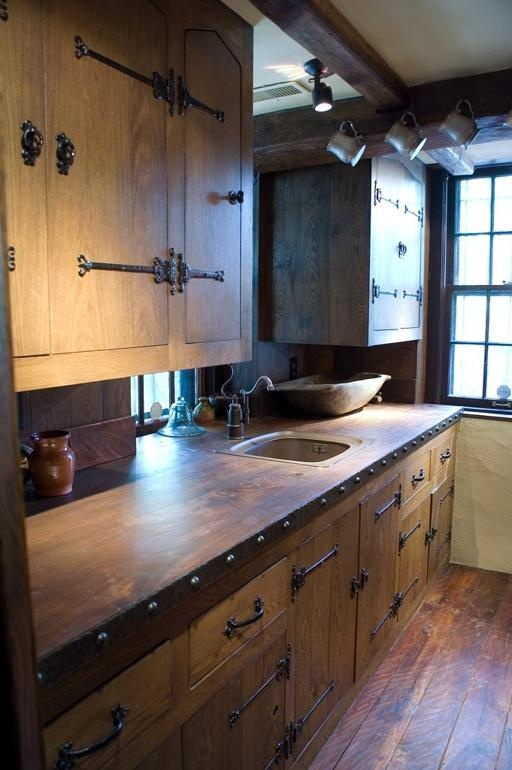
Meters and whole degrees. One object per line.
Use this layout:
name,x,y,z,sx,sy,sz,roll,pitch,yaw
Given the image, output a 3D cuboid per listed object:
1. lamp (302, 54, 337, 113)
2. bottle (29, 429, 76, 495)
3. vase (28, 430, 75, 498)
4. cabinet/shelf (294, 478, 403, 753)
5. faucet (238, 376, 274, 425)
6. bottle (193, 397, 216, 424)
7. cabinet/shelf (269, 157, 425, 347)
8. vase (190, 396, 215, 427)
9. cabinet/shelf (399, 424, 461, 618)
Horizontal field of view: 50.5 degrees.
lamp,0.226,-1.089,2.012,0.103,0.162,0.290,2,6,6
bottle,-0.529,0.207,1.455,0.144,0.162,0.108,-3,6,-21
vase,-0.534,0.198,1.438,0.102,0.159,0.143,3,11,7
cabinet/shelf,0.296,0.766,1.783,0.227,0.635,0.686,3,19,26
faucet,-0.004,0.060,2.441,0.149,0.243,0.508,1,6,-2
bottle,-0.245,0.111,2.553,0.103,0.123,0.105,-4,7,-31
cabinet/shelf,0.565,-0.710,2.997,0.447,0.945,0.883,3,9,36
vase,-0.239,0.118,2.549,0.108,0.130,0.112,-3,6,-29
cabinet/shelf,0.855,0.681,2.703,0.287,0.805,0.780,2,8,23
